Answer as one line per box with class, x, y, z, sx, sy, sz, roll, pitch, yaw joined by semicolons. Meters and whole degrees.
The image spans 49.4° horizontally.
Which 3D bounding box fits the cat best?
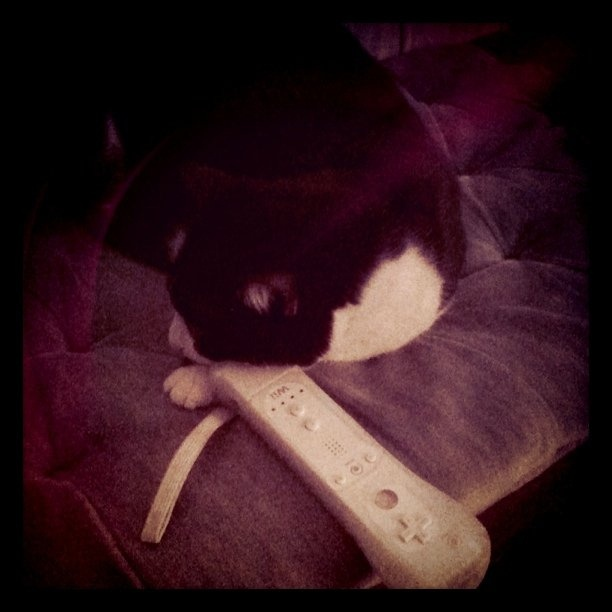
cat;-0.174;-0.260;1.796;0.977;0.423;0.841;-21;92;-1
